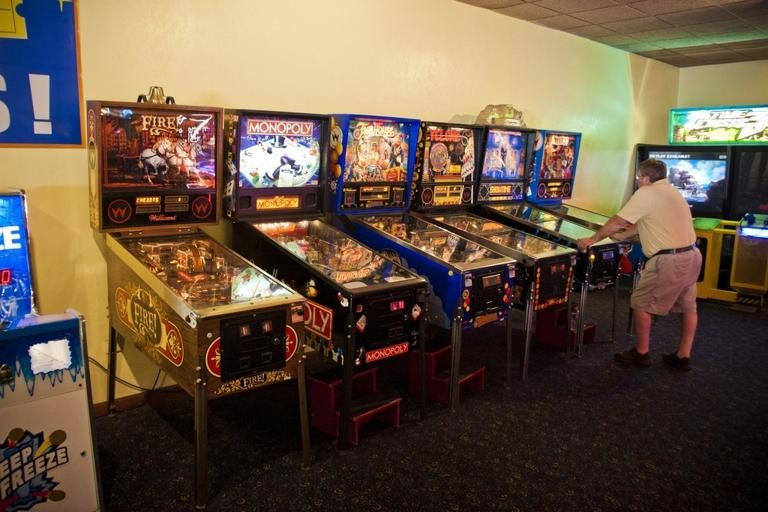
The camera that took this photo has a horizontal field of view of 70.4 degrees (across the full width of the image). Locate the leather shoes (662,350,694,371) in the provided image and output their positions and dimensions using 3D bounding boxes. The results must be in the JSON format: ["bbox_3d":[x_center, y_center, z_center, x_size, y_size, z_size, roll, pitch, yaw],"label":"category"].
[{"bbox_3d":[2.923,1.032,5.406,0.122,0.115,0.302,-2,4,-8],"label":"leather shoes"}]

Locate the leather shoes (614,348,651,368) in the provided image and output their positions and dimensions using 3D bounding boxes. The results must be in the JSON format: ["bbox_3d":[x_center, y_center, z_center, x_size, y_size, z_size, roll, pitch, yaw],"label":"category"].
[{"bbox_3d":[2.486,0.997,5.456,0.332,0.148,0.148,6,9,35],"label":"leather shoes"}]

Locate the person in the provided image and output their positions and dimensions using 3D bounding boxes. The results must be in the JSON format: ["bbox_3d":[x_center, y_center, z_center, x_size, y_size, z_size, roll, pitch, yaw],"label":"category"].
[{"bbox_3d":[2.657,0.071,5.430,0.965,1.979,0.724,7,19,28],"label":"person"}]
